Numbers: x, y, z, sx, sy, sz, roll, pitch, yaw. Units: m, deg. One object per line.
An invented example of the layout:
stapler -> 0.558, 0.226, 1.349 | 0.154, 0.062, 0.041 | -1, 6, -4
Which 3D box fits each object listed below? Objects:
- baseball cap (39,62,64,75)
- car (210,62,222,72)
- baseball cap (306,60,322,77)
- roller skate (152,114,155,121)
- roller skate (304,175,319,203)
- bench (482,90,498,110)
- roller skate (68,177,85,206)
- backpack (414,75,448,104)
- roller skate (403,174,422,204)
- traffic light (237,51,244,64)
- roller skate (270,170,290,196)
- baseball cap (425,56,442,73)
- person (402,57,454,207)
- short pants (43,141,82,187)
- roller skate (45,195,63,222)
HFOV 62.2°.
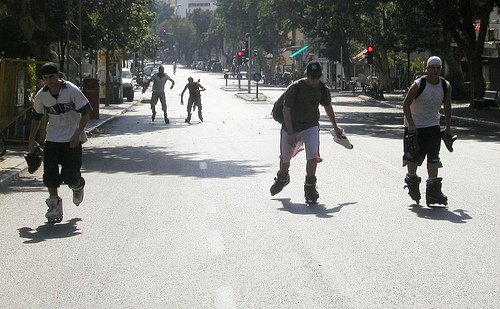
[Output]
baseball cap -> -3.173, -1.370, 6.613 | 0.161, 0.159, 0.280 | -2, 11, 7
car -> -10.634, -27.385, 130.980 | 3.875, 2.868, 1.823 | -11, 16, -35
baseball cap -> 1.187, -1.576, 7.670 | 0.271, 0.286, 0.333 | 1, 14, 9
roller skate -> -5.930, -2.263, 25.422 | 0.284, 0.447, 0.107 | -4, 8, -25
roller skate -> 1.184, 0.649, 8.010 | 0.263, 0.555, 0.232 | 1, 12, 11
bench -> 17.267, -4.121, 29.880 | 0.646, 1.118, 1.565 | -7, 12, -6
roller skate -> -3.111, 0.642, 7.392 | 0.174, 0.599, 0.401 | 0, 29, -3
backpack -> 3.308, -1.274, 7.591 | 0.523, 0.568, 0.399 | 10, -6, 12
roller skate -> 3.095, 0.658, 7.907 | 0.299, 0.602, 0.321 | 4, 13, 22
traffic light -> -1.282, -12.808, 54.869 | 0.703, 1.604, 1.202 | -2, 13, -2
roller skate -> 0.630, 0.617, 8.653 | 0.282, 0.427, 0.159 | 17, 29, -54
baseball cap -> 3.318, -1.619, 7.457 | 0.262, 0.320, 0.368 | 2, 14, 3
person -> 3.269, -0.367, 7.647 | 0.977, 2.759, 0.669 | -1, 11, 3
short pants -> -3.161, 0.151, 6.978 | 0.672, 1.062, 0.441 | 1, 0, -23
roller skate -> -3.261, 0.913, 6.897 | 0.253, 0.421, 0.265 | -8, 14, -26
